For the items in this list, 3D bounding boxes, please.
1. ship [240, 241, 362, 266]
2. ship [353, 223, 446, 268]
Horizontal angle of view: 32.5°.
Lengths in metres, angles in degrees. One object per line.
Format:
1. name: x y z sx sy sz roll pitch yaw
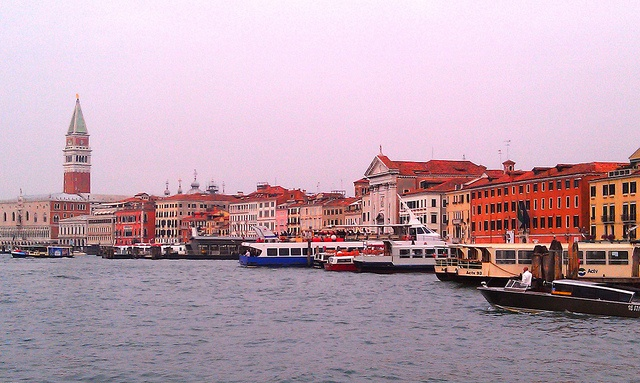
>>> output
1. ship: -1.118 7.953 136.057 14.884 2.762 3.100 3 12 0
2. ship: 8.860 6.649 117.183 7.957 2.705 4.430 -1 -1 -1
